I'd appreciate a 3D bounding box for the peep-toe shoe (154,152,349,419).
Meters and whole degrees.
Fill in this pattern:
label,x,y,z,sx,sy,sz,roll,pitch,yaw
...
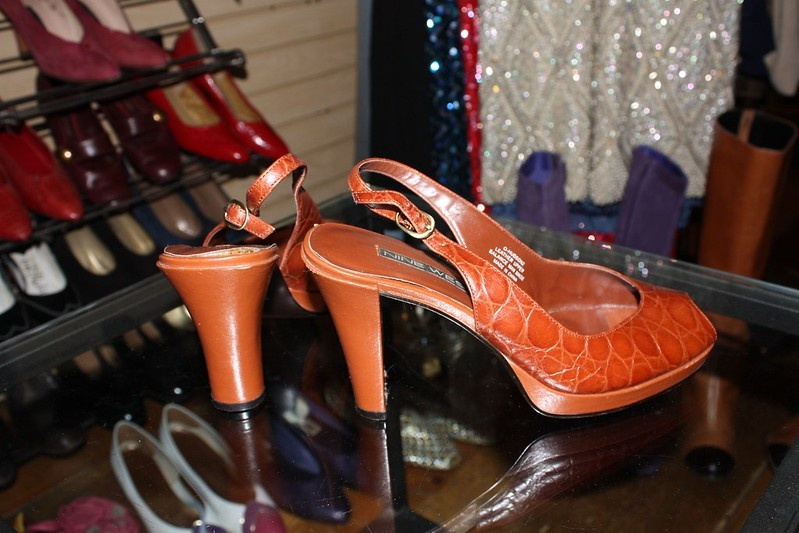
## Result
label,x,y,z,sx,sy,sz,roll,pitch,yaw
peep-toe shoe,-0.248,0.015,1.214,0.188,0.236,0.575,2,21,8

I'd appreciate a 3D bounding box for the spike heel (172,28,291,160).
label,x,y,z,sx,sy,sz,roll,pitch,yaw
spike heel,-0.481,-0.479,1.693,0.083,0.329,0.087,-16,20,15

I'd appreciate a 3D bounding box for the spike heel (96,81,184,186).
label,x,y,z,sx,sy,sz,roll,pitch,yaw
spike heel,-0.615,-0.283,1.632,0.105,0.297,0.078,-39,18,-30
